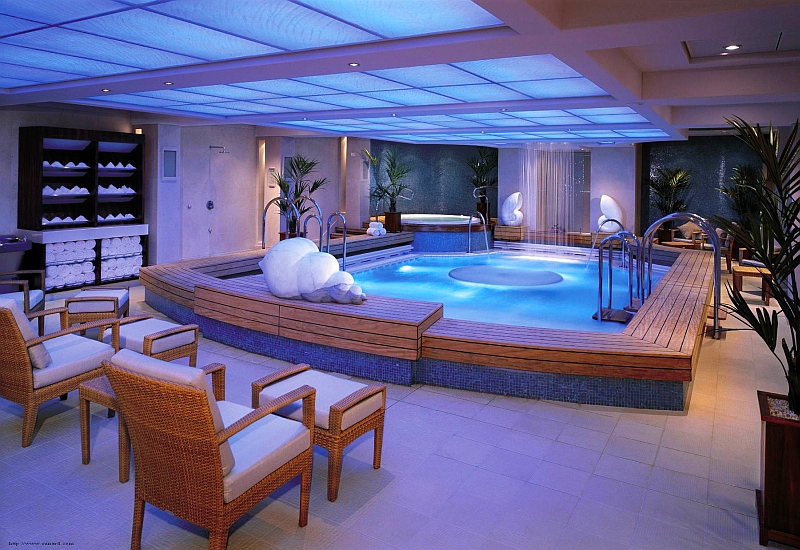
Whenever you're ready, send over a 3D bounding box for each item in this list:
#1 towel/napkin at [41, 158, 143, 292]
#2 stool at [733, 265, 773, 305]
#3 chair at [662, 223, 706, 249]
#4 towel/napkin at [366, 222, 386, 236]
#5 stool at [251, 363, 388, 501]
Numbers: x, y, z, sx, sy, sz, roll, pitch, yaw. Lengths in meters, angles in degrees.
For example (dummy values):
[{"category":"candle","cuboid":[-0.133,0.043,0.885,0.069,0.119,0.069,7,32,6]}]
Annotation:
[{"category":"towel/napkin","cuboid":[-5.946,-0.970,9.171,0.793,2.295,2.501,4,6,27]},{"category":"stool","cuboid":[5.891,0.155,8.056,0.716,0.727,0.760,3,5,33]},{"category":"chair","cuboid":[7.643,-1.055,12.989,0.842,0.842,0.897,1,2,-41]},{"category":"towel/napkin","cuboid":[-0.732,-1.316,13.686,0.435,0.323,0.426,-3,9,-32]},{"category":"stool","cuboid":[-0.577,1.047,4.009,1.223,0.922,0.883,4,7,38]}]
